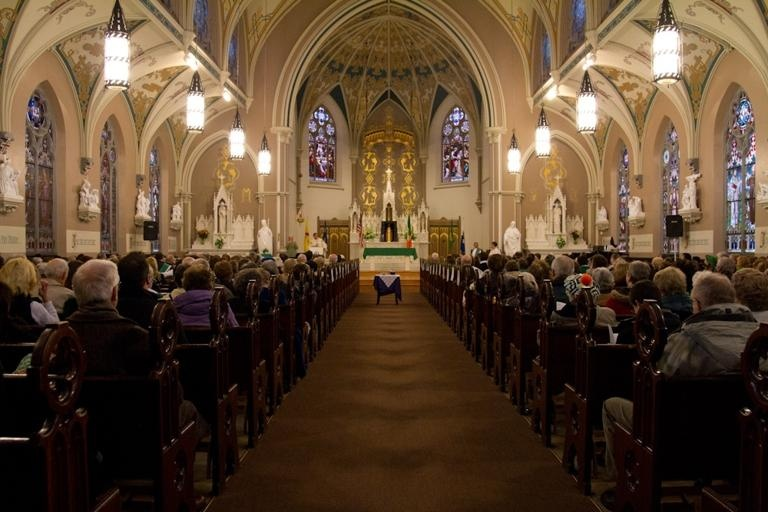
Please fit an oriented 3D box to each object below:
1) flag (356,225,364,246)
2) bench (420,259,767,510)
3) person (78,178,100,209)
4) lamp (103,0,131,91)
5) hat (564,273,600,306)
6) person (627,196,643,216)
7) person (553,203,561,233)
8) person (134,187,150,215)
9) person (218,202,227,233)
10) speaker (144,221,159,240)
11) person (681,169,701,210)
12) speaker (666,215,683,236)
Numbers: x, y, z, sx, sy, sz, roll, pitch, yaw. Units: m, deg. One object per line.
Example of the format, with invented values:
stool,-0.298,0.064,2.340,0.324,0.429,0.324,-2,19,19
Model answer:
flag,-0.959,-0.847,27.014,0.281,0.977,0.892,-2,8,-3
bench,2.104,1.149,6.956,0.919,2.107,4.769,-4,9,-20
person,-8.005,-1.663,17.120,0.312,1.021,0.864,-2,0,13
lamp,-4.590,-3.659,10.927,0.441,1.471,0.435,3,9,31
hat,2.403,0.367,7.691,0.361,0.238,0.503,5,4,24
person,8.699,-1.720,21.867,0.380,0.845,0.675,1,-4,-3
person,7.001,-1.548,25.419,0.354,1.209,0.335,0,8,15
person,-8.009,-1.735,20.939,0.318,0.914,0.604,-2,8,-6
person,-6.427,-1.560,25.151,0.391,1.267,0.234,-3,8,-12
speaker,-7.551,-0.811,20.488,0.383,0.757,0.531,-4,-4,44
person,8.647,-1.800,17.910,0.532,1.045,0.672,6,11,44
speaker,8.220,-0.848,17.872,0.486,0.784,0.364,2,4,23
